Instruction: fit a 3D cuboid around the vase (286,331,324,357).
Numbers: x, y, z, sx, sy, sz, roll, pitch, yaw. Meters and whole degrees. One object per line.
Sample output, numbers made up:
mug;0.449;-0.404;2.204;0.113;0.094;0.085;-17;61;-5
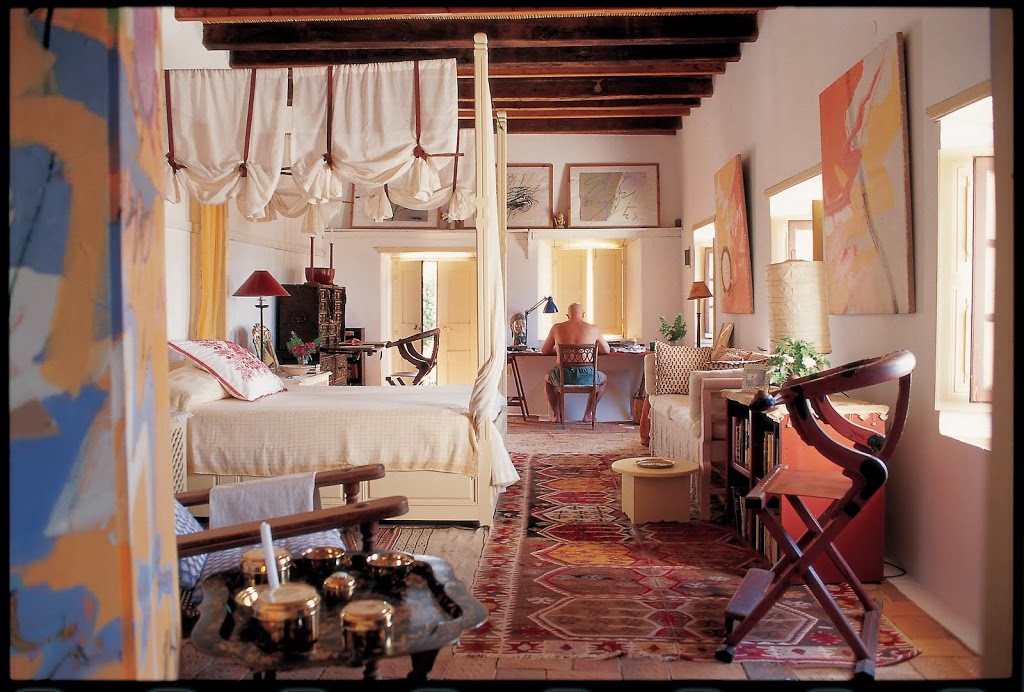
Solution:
vase;-2.059;0.030;7.692;0.332;0.278;0.317;-8;13;1

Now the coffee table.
coffee table;-0.471;0.805;2.272;0.524;0.131;0.503;-3;8;-21

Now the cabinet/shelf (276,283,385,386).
cabinet/shelf;-2.010;-0.157;8.572;0.486;1.184;1.319;-1;0;7

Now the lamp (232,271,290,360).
lamp;-2.354;-0.244;7.416;0.480;0.883;0.449;1;8;-22

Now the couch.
couch;1.576;0.568;6.275;0.754;0.951;2.467;-1;3;3

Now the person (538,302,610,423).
person;0.695;0.219;9.004;0.818;1.345;0.788;-6;9;-18

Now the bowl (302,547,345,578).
bowl;-0.604;0.693;2.563;0.090;0.060;0.101;1;5;7

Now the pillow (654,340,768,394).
pillow;1.565;0.166;6.868;0.548;0.332;0.561;-1;3;-29

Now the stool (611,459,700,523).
stool;0.929;0.917;5.053;0.459;0.259;0.440;1;1;-2

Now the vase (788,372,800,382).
vase;1.485;0.164;4.167;0.045;0.042;0.041;-1;-17;-3

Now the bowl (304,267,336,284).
bowl;-2.159;-0.772;8.840;0.266;0.148;0.253;-1;2;0

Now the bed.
bed;-0.996;-0.397;5.349;1.956;2.540;1.383;-2;1;1

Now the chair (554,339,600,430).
chair;0.738;0.440;8.802;0.527;0.647;0.892;-2;1;5

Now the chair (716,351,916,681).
chair;1.353;0.694;3.563;0.816;1.264;0.800;0;1;22

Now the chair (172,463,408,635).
chair;-1.017;0.738;3.138;1.012;0.596;0.684;-6;8;-19

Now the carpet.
carpet;0.665;1.182;5.028;1.610;0.049;3.782;-2;3;1

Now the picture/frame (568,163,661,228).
picture/frame;1.256;-1.847;9.717;0.865;0.573;0.036;0;2;2

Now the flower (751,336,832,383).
flower;1.594;0.082;4.538;0.318;0.291;0.290;0;12;-11

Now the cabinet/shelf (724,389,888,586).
cabinet/shelf;1.639;0.671;4.683;0.582;0.919;1.477;-2;7;3
